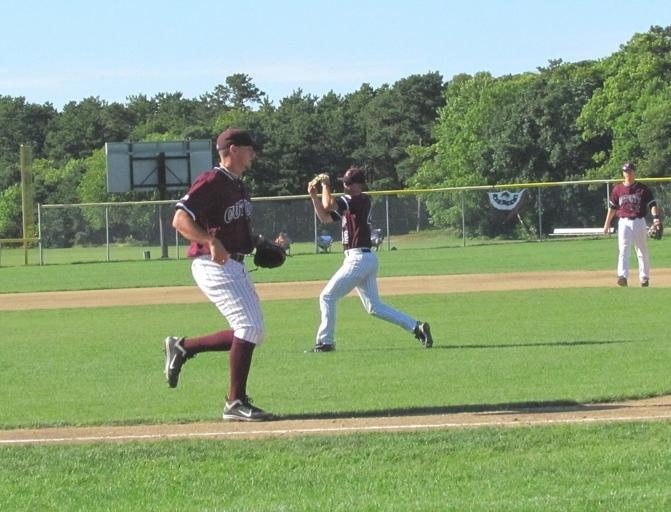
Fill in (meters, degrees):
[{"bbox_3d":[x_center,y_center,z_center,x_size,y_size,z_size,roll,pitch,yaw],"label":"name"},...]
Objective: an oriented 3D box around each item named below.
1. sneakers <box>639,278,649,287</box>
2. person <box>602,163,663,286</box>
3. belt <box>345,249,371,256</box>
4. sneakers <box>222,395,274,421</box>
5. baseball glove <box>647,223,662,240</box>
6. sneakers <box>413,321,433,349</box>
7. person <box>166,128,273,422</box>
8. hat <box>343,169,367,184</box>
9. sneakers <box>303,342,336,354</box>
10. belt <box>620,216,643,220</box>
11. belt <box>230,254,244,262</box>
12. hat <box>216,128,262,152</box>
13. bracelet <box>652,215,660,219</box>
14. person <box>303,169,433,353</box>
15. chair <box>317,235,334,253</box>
[{"bbox_3d":[5.601,0.462,23.898,0.126,0.140,0.128,-1,4,-5],"label":"sneakers"},{"bbox_3d":[5.482,-0.619,24.296,0.971,2.307,1.420,-2,1,13],"label":"person"},{"bbox_3d":[0.366,-0.083,19.398,0.385,0.082,0.181,-2,1,2],"label":"belt"},{"bbox_3d":[-1.081,1.999,17.073,0.642,0.289,0.258,1,-2,8],"label":"sneakers"},{"bbox_3d":[6.036,-0.510,24.779,0.236,0.298,0.313,-1,-4,4],"label":"baseball glove"},{"bbox_3d":[1.313,1.154,19.441,0.272,0.296,0.313,-2,1,3],"label":"sneakers"},{"bbox_3d":[-1.499,0.222,17.233,1.120,3.105,0.833,-3,1,-8],"label":"person"},{"bbox_3d":[0.321,-1.216,19.370,0.283,0.152,0.205,5,2,-9],"label":"hat"},{"bbox_3d":[-0.196,1.328,19.312,0.469,0.206,0.161,2,0,0],"label":"sneakers"},{"bbox_3d":[5.352,-0.715,23.736,0.390,0.088,0.129,-2,1,6],"label":"belt"},{"bbox_3d":[-1.234,0.007,17.100,0.098,0.063,0.126,5,3,-26],"label":"belt"},{"bbox_3d":[-1.209,-1.506,17.254,0.505,0.240,0.354,-9,13,-18],"label":"hat"},{"bbox_3d":[5.846,-0.734,23.985,0.072,0.077,0.068,-10,5,-4],"label":"bracelet"},{"bbox_3d":[0.412,0.005,19.348,1.540,2.070,0.626,-2,1,-3],"label":"person"},{"bbox_3d":[-0.225,-0.395,38.583,0.369,0.463,0.484,1,-1,-2],"label":"chair"}]
